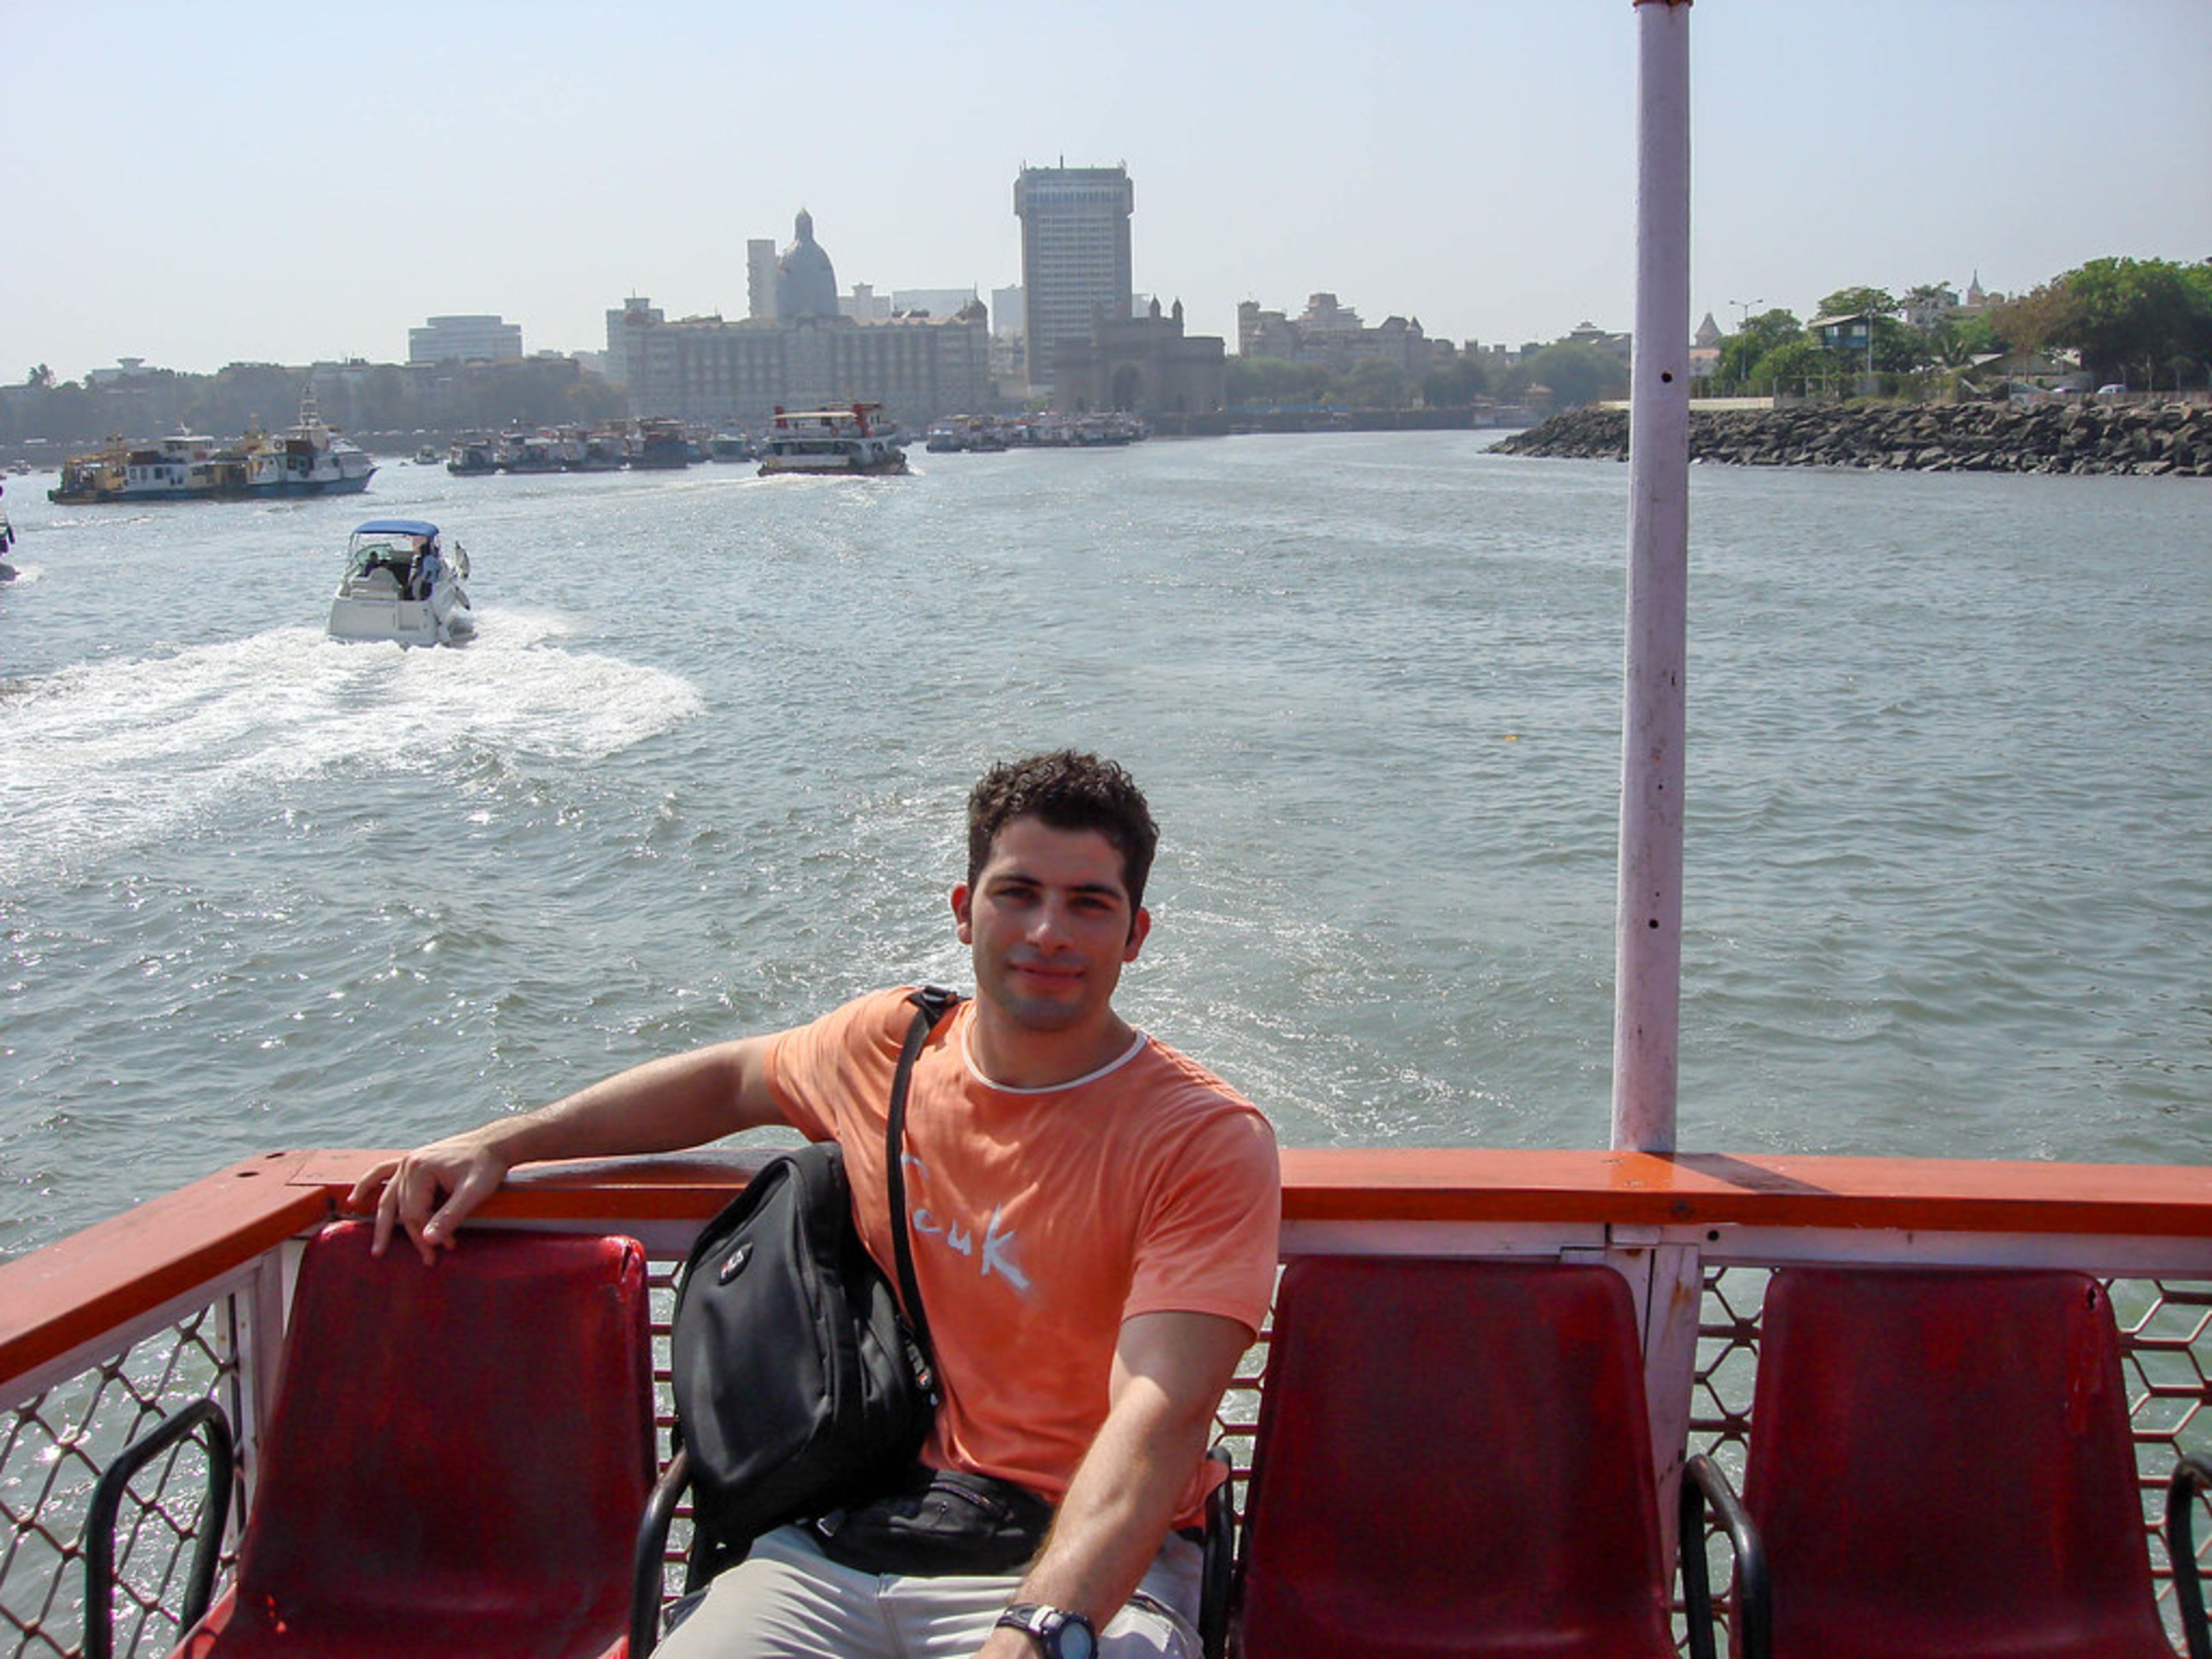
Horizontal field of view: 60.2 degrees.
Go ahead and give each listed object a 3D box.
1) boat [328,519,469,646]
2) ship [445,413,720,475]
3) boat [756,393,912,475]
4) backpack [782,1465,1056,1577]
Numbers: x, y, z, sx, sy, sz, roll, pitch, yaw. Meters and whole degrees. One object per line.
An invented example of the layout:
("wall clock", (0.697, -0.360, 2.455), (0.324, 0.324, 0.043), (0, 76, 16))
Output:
("boat", (-10.830, -3.768, 29.298), (1.861, 1.657, 3.242), (1, 21, -6))
("ship", (-32.197, -23.363, 116.364), (12.072, 3.105, 12.082), (-9, 15, -36))
("boat", (-13.102, -18.820, 91.552), (6.141, 3.493, 8.569), (-2, 12, -9))
("backpack", (-0.246, 0.996, 2.753), (0.233, 0.087, 0.187), (2, 6, 13))
